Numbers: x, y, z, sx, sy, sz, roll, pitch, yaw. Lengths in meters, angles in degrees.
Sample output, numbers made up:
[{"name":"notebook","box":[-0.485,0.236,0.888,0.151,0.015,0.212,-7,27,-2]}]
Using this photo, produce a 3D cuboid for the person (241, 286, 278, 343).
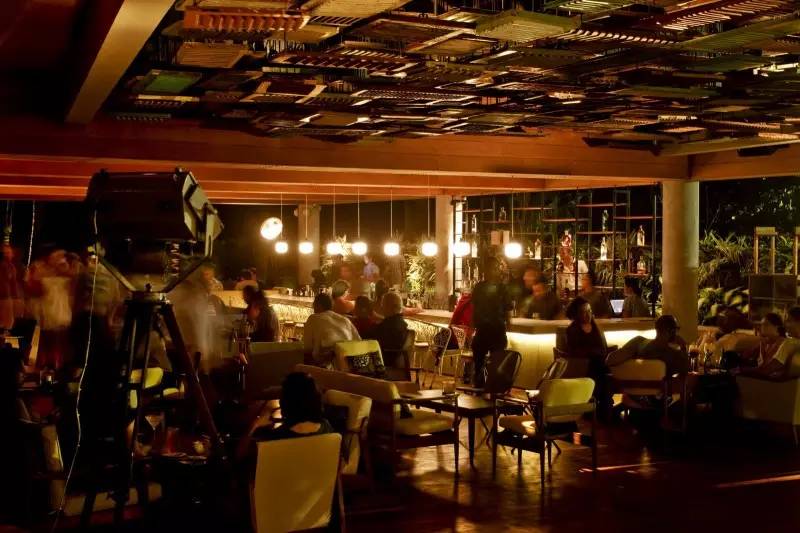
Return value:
[{"name":"person","box":[-1.976,0.685,9.197,0.484,0.762,0.783,0,3,-13]}]

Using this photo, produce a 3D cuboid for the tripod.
[{"name":"tripod","box":[-1.933,1.165,5.009,1.015,2.062,1.400,-1,4,-25]}]

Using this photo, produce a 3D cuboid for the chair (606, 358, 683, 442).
[{"name":"chair","box":[3.168,1.607,8.244,0.934,0.863,1.180,-1,-1,25]}]

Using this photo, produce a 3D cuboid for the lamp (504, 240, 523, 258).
[{"name":"lamp","box":[2.353,-0.340,13.133,0.460,0.335,0.414,0,3,-1]}]

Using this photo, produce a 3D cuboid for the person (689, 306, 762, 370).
[{"name":"person","box":[4.766,1.047,9.357,0.902,0.529,1.382,1,-4,40]}]

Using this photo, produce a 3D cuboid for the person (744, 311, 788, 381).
[{"name":"person","box":[4.772,1.038,8.385,0.592,0.799,0.680,2,0,2]}]

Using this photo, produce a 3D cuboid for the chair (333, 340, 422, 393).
[{"name":"chair","box":[-0.447,1.226,8.374,0.899,0.882,0.793,-3,-6,44]}]

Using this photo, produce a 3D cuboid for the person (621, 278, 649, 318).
[{"name":"person","box":[4.275,0.559,11.725,0.479,0.693,0.778,2,3,19]}]

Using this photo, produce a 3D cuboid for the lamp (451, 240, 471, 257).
[{"name":"lamp","box":[1.362,-0.390,14.289,0.410,0.207,0.368,-1,2,-4]}]

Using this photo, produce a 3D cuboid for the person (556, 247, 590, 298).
[{"name":"person","box":[3.658,0.107,13.823,0.658,1.093,1.559,1,3,13]}]

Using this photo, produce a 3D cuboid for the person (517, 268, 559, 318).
[{"name":"person","box":[2.486,0.522,11.351,0.474,0.811,0.845,-1,3,-18]}]

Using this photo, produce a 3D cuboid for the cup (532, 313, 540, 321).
[{"name":"cup","box":[2.367,0.891,11.288,0.110,0.117,0.135,2,-4,-17]}]
